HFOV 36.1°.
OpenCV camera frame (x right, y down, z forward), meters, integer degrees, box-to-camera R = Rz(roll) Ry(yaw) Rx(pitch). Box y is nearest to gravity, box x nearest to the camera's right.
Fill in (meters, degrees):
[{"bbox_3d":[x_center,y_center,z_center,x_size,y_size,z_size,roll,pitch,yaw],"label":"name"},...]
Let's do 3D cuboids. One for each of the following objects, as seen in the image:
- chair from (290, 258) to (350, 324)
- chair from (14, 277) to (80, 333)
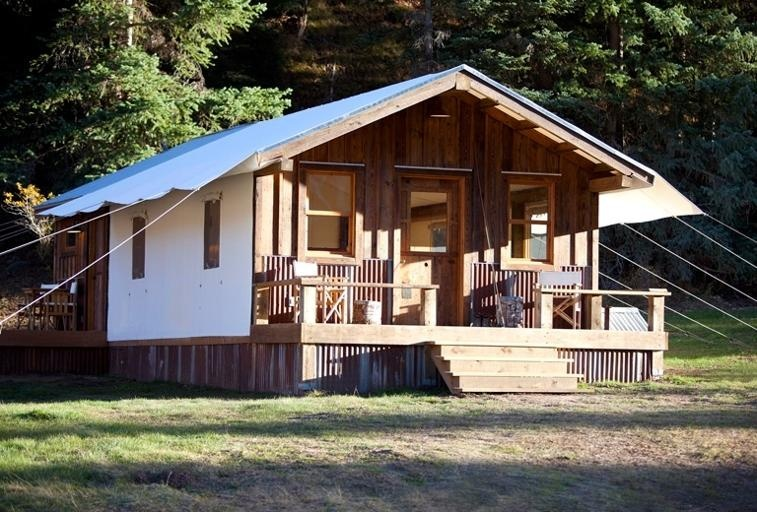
[{"bbox_3d":[-1.157,0.996,26.697,0.749,1.214,0.853,16,-3,-15],"label":"chair"},{"bbox_3d":[-9.227,1.513,32.875,1.444,1.519,2.006,-4,11,-21],"label":"chair"}]
